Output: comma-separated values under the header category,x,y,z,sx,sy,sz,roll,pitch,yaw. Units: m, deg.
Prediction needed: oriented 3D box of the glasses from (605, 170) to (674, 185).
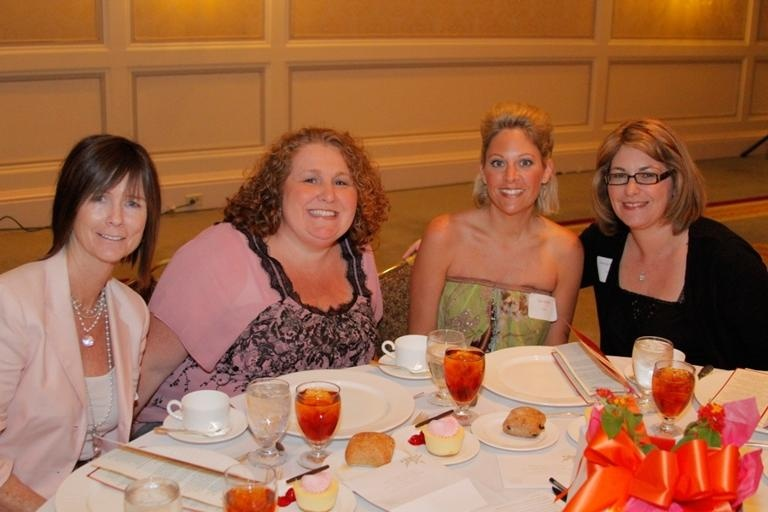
category,x,y,z,sx,sy,sz,roll,pitch,yaw
glasses,1.212,-0.376,2.692,0.278,0.069,0.091,2,7,27

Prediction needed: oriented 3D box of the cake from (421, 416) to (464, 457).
category,x,y,z,sx,sy,sz,roll,pitch,yaw
cake,0.166,0.500,1.575,0.103,0.092,0.105,0,-3,-2

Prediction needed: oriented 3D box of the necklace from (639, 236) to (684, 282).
category,x,y,z,sx,sy,sz,roll,pitch,yaw
necklace,1.330,0.026,2.735,0.212,0.220,0.058,-1,-3,35

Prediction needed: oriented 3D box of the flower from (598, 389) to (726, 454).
category,x,y,z,sx,sy,sz,roll,pitch,yaw
flower,0.618,0.377,1.279,0.218,0.091,0.158,0,7,9

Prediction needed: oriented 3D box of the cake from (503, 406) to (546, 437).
category,x,y,z,sx,sy,sz,roll,pitch,yaw
cake,0.417,0.484,1.699,0.086,0.046,0.088,1,10,16

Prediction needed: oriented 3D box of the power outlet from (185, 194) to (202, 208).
category,x,y,z,sx,sy,sz,roll,pitch,yaw
power outlet,-2.069,-0.616,6.130,0.108,0.098,0.055,-19,36,-19
